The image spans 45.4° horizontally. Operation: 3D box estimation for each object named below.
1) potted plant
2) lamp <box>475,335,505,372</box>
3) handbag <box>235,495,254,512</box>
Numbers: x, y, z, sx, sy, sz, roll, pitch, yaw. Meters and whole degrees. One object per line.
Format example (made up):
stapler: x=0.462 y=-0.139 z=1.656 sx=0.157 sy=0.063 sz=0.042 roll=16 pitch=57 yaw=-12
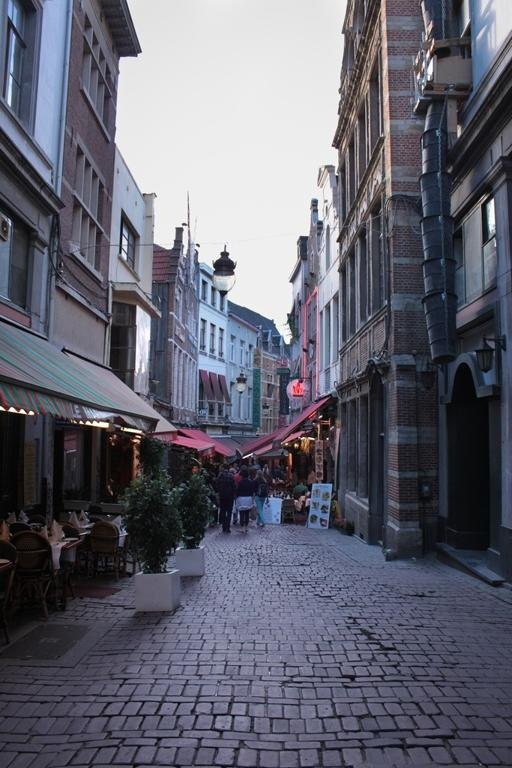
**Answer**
potted plant: x=-1.468 y=2.289 z=10.194 sx=0.840 sy=3.059 sz=2.587 roll=0 pitch=-8 yaw=5
lamp: x=3.591 y=-0.497 z=9.415 sx=0.351 sy=0.501 sz=0.694 roll=-3 pitch=-11 yaw=5
handbag: x=-0.357 y=3.356 z=17.737 sx=0.394 sy=0.548 sz=0.479 roll=-3 pitch=-22 yaw=2
